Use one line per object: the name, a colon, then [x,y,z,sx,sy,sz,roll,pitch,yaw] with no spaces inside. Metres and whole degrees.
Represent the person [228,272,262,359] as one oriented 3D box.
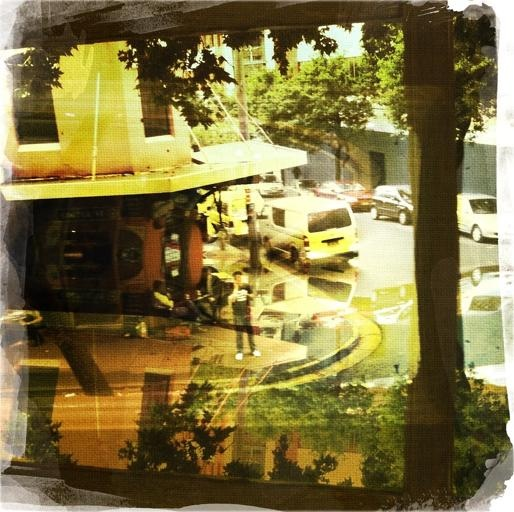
person: [-0.105,0.419,4.974,0.196,0.629,0.083,-3,7,-3]
